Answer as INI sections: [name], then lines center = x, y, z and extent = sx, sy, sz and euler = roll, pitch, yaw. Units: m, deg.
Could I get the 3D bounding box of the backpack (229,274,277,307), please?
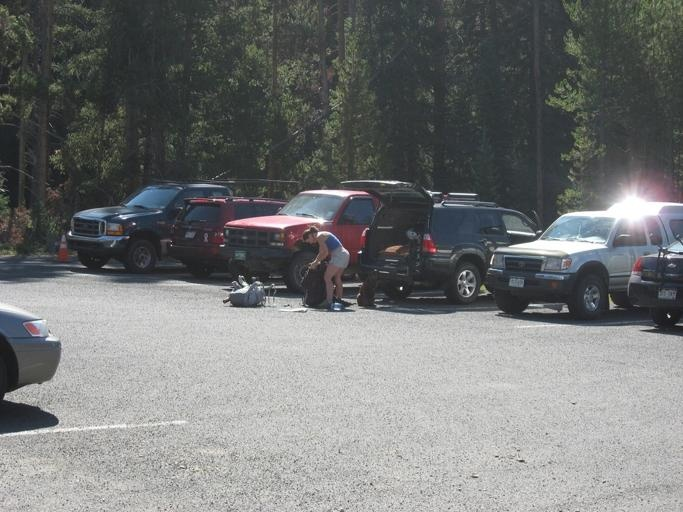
[backpack]
center = -2.010, 0.875, 16.253
extent = 0.868, 0.565, 0.759
euler = 8, -1, -7

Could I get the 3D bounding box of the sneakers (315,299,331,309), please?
[sneakers]
center = -0.392, 1.053, 16.061
extent = 0.291, 0.166, 0.166
euler = 4, 0, 12
